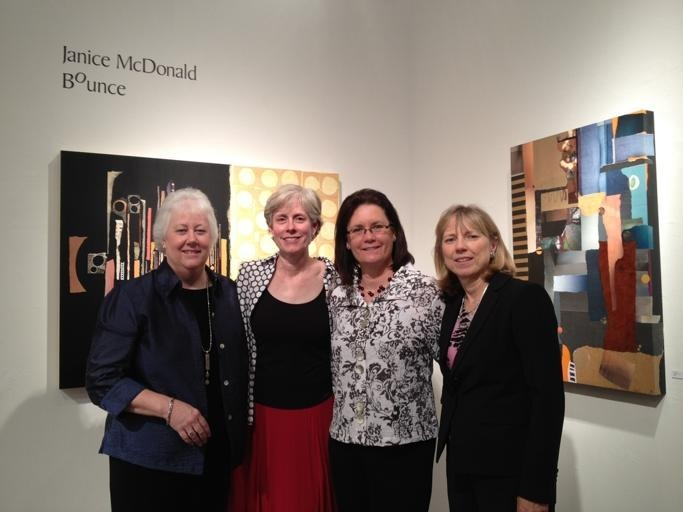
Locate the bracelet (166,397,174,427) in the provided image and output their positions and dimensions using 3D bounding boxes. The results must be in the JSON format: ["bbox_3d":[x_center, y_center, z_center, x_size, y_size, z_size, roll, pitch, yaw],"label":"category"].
[{"bbox_3d":[-0.829,0.751,2.475,0.029,0.108,0.048,1,5,32],"label":"bracelet"}]

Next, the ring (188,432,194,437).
[{"bbox_3d":[-0.738,0.866,2.483,0.025,0.028,0.007,-3,5,-13],"label":"ring"}]
